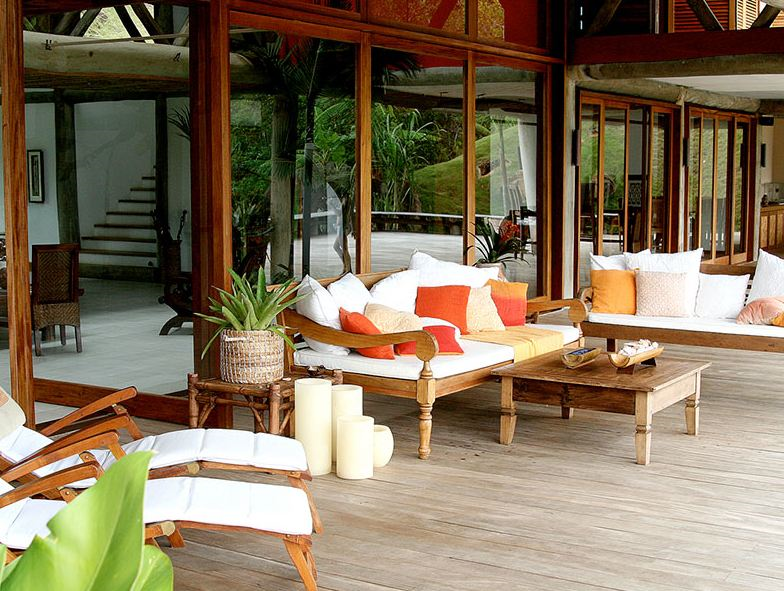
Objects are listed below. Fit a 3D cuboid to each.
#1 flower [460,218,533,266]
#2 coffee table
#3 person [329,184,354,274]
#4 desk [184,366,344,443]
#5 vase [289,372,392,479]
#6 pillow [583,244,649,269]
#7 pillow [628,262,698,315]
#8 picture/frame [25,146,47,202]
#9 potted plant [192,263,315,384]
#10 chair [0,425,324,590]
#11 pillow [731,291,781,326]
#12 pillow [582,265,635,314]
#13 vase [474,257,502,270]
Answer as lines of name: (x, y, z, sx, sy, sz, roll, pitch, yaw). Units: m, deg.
flower: (1.356, -0.746, 7.975, 0.826, 0.262, 0.760, 1, 0, -5)
coffee table: (1.453, 0.702, 4.499, 1.023, 0.399, 1.010, 2, 5, 36)
person: (-0.577, -0.614, 6.070, 0.241, 0.728, 0.252, -2, 3, 44)
desk: (-1.223, 0.864, 4.597, 0.851, 0.333, 0.820, -9, -20, 38)
vase: (-0.356, 0.859, 4.287, 0.713, 0.557, 0.685, -2, 3, -41)
pillow: (2.834, -0.506, 7.764, 0.648, 0.157, 0.555, 1, 17, 6)
pillow: (2.794, -0.049, 6.182, 0.601, 0.444, 0.208, 3, -15, 11)
picture/frame: (-3.099, -1.040, 5.206, 0.058, 0.465, 0.177, 16, 17, 28)
potted plant: (-0.906, 0.202, 4.640, 0.978, 0.779, 0.908, 0, -1, 7)
chair: (-0.839, 0.866, 2.557, 1.559, 0.614, 0.729, 1, 6, 2)
pillow: (3.455, 0.132, 5.740, 0.415, 0.112, 0.371, 5, 37, 32)
pillow: (2.299, -0.063, 6.334, 0.591, 0.329, 0.192, -4, -31, -2)
vase: (1.133, -0.387, 7.190, 0.282, 0.192, 0.288, 0, 4, 8)
